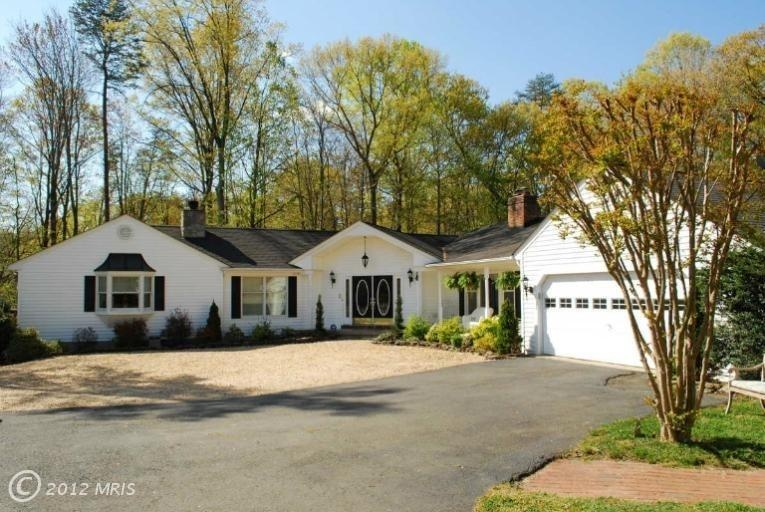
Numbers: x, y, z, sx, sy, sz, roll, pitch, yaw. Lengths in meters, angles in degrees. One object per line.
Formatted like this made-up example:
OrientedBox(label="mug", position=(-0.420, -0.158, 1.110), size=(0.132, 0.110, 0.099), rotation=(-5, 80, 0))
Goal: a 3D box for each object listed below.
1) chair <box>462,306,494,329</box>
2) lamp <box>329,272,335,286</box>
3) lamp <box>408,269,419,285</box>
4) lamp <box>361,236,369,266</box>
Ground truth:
OrientedBox(label="chair", position=(3.989, 2.572, 30.355), size=(0.987, 1.148, 1.065), rotation=(14, -14, -39))
OrientedBox(label="lamp", position=(-2.459, 1.129, 34.998), size=(0.268, 0.699, 0.393), rotation=(2, 10, 9))
OrientedBox(label="lamp", position=(1.418, 0.968, 33.261), size=(0.542, 0.843, 0.582), rotation=(-1, -1, -1))
OrientedBox(label="lamp", position=(-0.886, -0.146, 34.498), size=(0.270, 1.472, 0.378), rotation=(-6, 12, -32))
